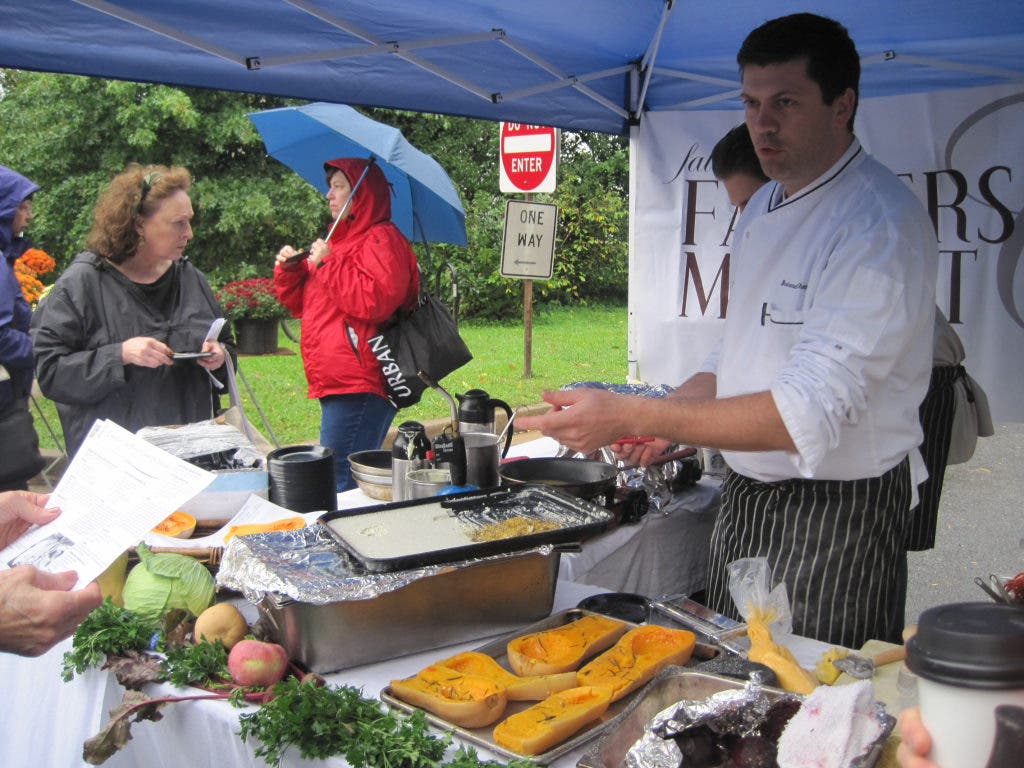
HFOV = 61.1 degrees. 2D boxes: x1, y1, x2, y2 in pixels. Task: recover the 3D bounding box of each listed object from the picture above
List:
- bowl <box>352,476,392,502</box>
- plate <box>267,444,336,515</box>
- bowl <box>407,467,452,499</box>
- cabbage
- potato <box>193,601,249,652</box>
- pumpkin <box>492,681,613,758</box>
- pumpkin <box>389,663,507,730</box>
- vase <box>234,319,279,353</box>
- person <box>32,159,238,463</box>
[{"bbox_3d":[-0.498,0.389,3.166,0.101,0.046,0.099,1,4,0],"label":"bowl"},{"bbox_3d":[-0.683,0.302,2.952,0.211,0.243,0.215,3,8,13],"label":"plate"},{"bbox_3d":[-0.276,0.323,2.900,0.115,0.087,0.106,1,0,0],"label":"bowl"},{"bbox_3d":[-0.887,0.524,2.257,0.168,0.172,0.196,3,2,-4],"label":"cabbage"},{"bbox_3d":[-0.708,0.592,2.115,0.119,0.092,0.146,0,4,-28],"label":"potato"},{"bbox_3d":[0.090,0.701,1.865,0.231,0.040,0.103,-13,15,-40],"label":"pumpkin"},{"bbox_3d":[-0.146,0.689,1.932,0.181,0.064,0.119,4,13,38],"label":"pumpkin"},{"bbox_3d":[-3.663,-0.670,12.395,0.489,0.378,0.504,-1,0,29],"label":"vase"},{"bbox_3d":[-1.710,-0.346,3.956,0.840,1.393,0.569,0,4,-29],"label":"person"}]
